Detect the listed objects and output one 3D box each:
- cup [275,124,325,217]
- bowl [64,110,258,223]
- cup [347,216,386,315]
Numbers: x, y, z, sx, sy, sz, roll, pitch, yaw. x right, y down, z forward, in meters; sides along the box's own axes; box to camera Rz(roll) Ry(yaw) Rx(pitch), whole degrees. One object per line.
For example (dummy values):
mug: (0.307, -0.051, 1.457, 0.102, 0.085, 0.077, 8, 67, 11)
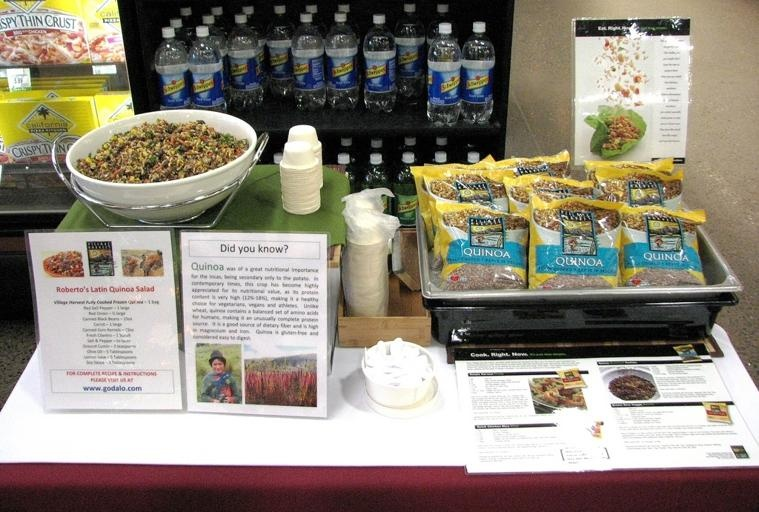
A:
cup: (-0.247, -0.268, 1.749, 0.131, 0.230, 0.191, -3, 31, -7)
bowl: (-0.634, -0.187, 1.673, 0.409, 0.155, 0.462, -4, 0, -45)
cup: (-0.048, 0.035, 1.761, 0.137, 0.321, 0.117, -2, 32, -5)
